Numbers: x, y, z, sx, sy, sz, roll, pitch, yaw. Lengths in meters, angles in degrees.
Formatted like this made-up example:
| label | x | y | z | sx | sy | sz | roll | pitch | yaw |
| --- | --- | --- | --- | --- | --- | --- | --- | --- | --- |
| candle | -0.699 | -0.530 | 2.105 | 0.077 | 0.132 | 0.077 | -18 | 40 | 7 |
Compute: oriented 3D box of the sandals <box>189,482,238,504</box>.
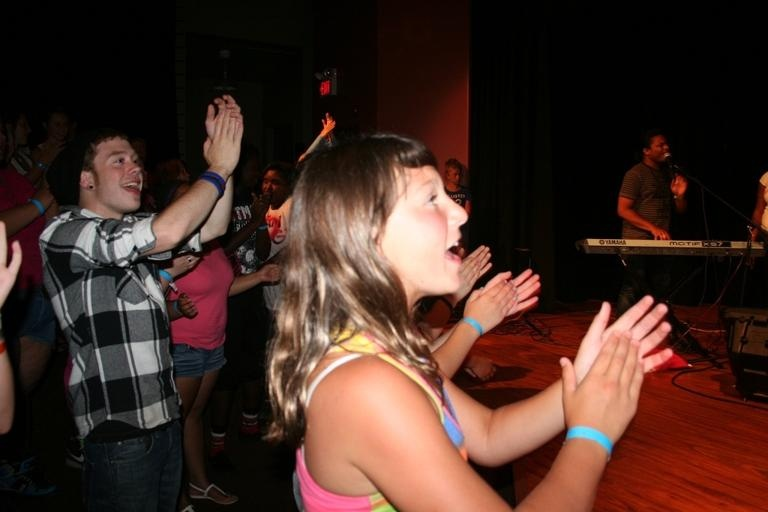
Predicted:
| label | x | y | z | sx | sy | sz | roll | pitch | yaw |
| --- | --- | --- | --- | --- | --- | --- | --- | --- | --- |
| sandals | -1.087 | 1.524 | 3.375 | 0.312 | 0.132 | 0.132 | 11 | -11 | -3 |
